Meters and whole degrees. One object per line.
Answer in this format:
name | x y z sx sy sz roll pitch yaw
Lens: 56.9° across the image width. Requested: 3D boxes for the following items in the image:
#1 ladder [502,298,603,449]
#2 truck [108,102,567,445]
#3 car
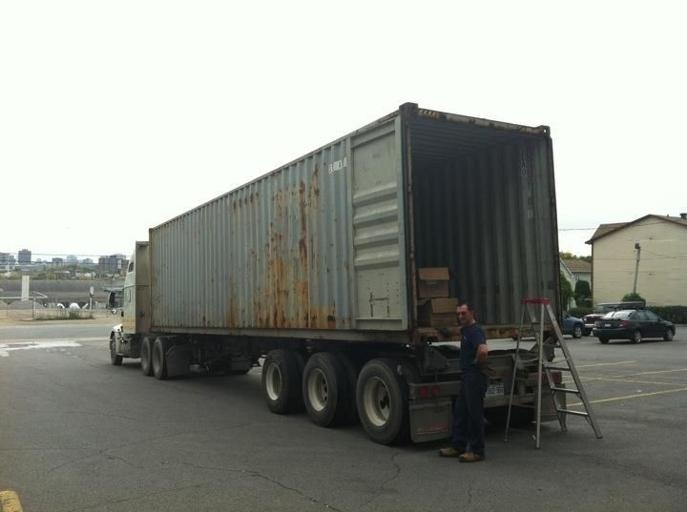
ladder | 3.235 1.808 10.016 1.164 2.637 1.256 3 -1 -21
truck | -2.124 1.041 15.816 3.301 5.067 15.609 2 -7 -37
car | 13.738 3.281 29.469 4.706 1.541 2.150 -2 -2 -37
